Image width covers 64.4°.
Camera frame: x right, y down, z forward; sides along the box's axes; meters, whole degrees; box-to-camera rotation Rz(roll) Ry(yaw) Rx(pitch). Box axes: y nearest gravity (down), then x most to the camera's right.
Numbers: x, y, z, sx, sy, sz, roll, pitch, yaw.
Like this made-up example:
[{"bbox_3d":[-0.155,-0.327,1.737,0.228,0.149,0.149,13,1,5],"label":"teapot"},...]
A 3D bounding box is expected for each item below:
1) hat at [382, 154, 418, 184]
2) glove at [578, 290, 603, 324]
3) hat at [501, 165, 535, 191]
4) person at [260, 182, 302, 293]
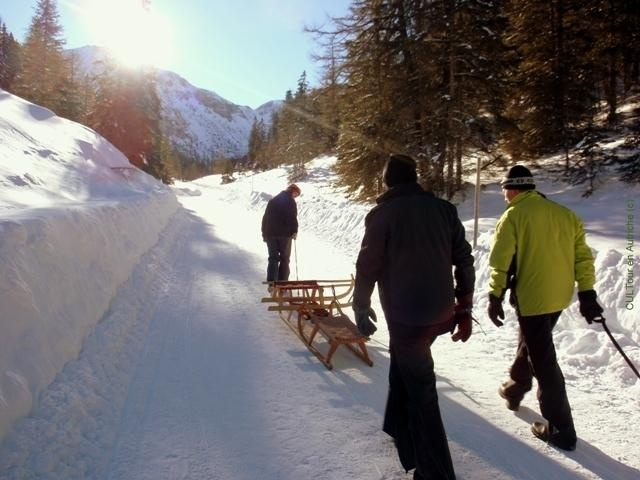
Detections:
[{"bbox_3d":[1.052,-0.935,6.651,0.316,0.461,0.431,1,13,-4],"label":"hat"},{"bbox_3d":[3.725,0.878,7.066,0.270,0.504,0.198,-18,-11,21],"label":"glove"},{"bbox_3d":[2.811,-0.880,7.198,0.290,0.296,0.431,-1,8,1],"label":"hat"},{"bbox_3d":[-0.844,-0.166,11.192,0.832,2.098,0.499,-2,5,-8],"label":"person"}]
